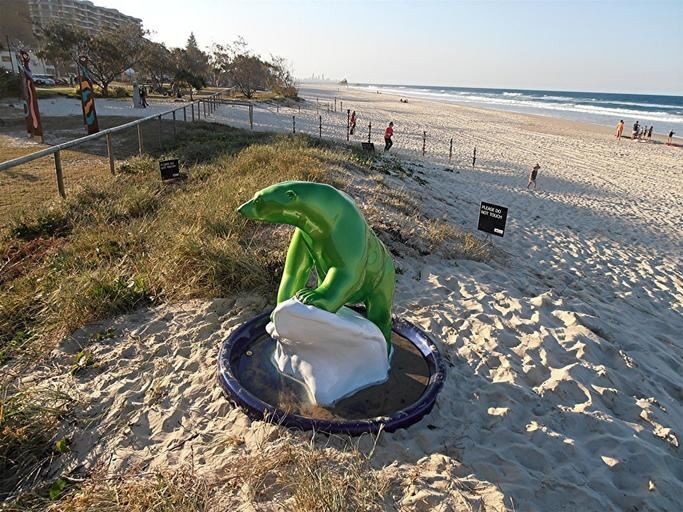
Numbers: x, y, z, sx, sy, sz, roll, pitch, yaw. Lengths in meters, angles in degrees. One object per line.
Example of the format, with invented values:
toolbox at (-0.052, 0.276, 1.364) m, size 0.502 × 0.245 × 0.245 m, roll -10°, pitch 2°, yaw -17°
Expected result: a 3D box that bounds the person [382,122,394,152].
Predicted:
person at (2.238, -5.403, 19.286) m, size 0.338 × 1.367 × 1.360 m, roll 6°, pitch 24°, yaw 3°
